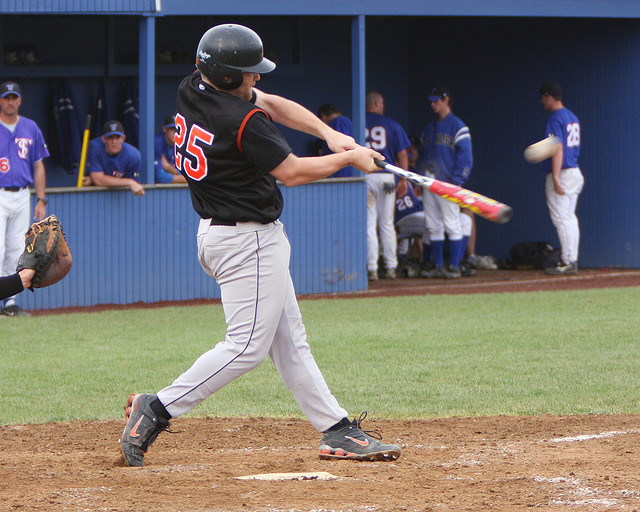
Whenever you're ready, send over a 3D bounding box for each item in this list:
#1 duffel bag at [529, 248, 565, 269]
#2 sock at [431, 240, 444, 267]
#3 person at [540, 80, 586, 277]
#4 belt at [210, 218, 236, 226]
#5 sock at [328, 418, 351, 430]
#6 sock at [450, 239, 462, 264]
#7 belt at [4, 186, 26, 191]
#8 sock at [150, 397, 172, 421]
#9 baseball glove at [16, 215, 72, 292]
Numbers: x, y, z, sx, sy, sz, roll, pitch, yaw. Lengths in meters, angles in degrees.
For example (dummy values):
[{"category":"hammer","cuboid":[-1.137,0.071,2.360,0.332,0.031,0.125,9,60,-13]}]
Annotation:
[{"category":"duffel bag","cuboid":[2.859,0.053,15.630,0.428,0.260,0.323,4,12,19]},{"category":"sock","cuboid":[1.393,-0.027,14.644,0.122,0.101,0.296,5,-36,9]},{"category":"person","cuboid":[2.873,-0.870,14.537,0.519,2.293,0.556,-1,10,-2]},{"category":"belt","cuboid":[-0.595,-0.204,7.615,0.162,0.042,0.013,3,11,16]},{"category":"sock","cuboid":[0.128,1.069,7.828,0.148,0.067,0.049,-32,-9,-4]},{"category":"sock","cuboid":[1.605,-0.050,14.574,0.133,0.350,0.352,1,11,6]},{"category":"belt","cuboid":[-2.849,-0.618,11.434,0.139,0.040,0.010,-8,13,-34]},{"category":"sock","cuboid":[-0.990,0.959,7.694,0.112,0.129,0.102,31,3,-20]},{"category":"baseball glove","cuboid":[-1.829,-0.036,8.278,0.363,0.501,0.225,-15,-21,9]}]
